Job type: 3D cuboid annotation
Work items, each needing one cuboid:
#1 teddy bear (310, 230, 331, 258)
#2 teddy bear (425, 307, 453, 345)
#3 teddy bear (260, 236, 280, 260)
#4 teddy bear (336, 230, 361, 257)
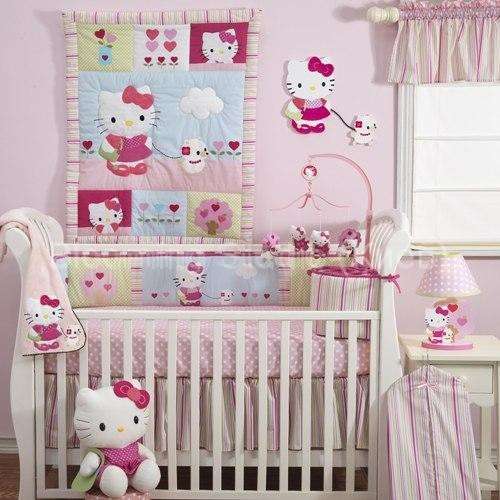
[{"bbox_3d":[0.298,-0.029,2.977,0.094,0.099,0.147,-1,12,6],"label":"teddy bear"},{"bbox_3d":[0.694,0.275,2.569,0.106,0.188,0.047,0,-16,8],"label":"teddy bear"},{"bbox_3d":[0.084,-0.006,3.007,0.071,0.109,0.091,8,-13,-29],"label":"teddy bear"},{"bbox_3d":[0.410,-0.027,2.907,0.074,0.114,0.063,14,-2,18],"label":"teddy bear"}]
